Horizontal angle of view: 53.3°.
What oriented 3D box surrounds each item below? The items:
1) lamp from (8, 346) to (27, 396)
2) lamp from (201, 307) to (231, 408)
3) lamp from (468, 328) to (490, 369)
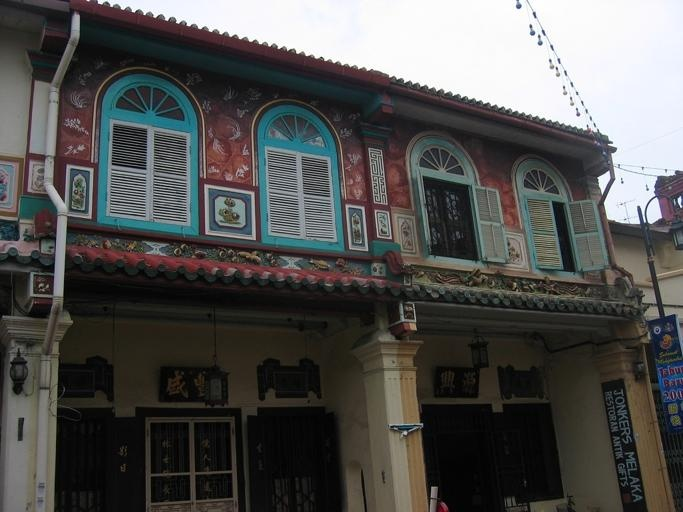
[{"bbox_3d":[-4.123,1.491,8.638,0.322,0.561,0.330,-1,-9,-13],"label":"lamp"},{"bbox_3d":[-2.180,1.811,11.572,0.374,1.407,0.648,-4,-19,1],"label":"lamp"},{"bbox_3d":[2.703,1.828,13.467,0.434,1.072,0.446,-3,-25,6],"label":"lamp"}]
